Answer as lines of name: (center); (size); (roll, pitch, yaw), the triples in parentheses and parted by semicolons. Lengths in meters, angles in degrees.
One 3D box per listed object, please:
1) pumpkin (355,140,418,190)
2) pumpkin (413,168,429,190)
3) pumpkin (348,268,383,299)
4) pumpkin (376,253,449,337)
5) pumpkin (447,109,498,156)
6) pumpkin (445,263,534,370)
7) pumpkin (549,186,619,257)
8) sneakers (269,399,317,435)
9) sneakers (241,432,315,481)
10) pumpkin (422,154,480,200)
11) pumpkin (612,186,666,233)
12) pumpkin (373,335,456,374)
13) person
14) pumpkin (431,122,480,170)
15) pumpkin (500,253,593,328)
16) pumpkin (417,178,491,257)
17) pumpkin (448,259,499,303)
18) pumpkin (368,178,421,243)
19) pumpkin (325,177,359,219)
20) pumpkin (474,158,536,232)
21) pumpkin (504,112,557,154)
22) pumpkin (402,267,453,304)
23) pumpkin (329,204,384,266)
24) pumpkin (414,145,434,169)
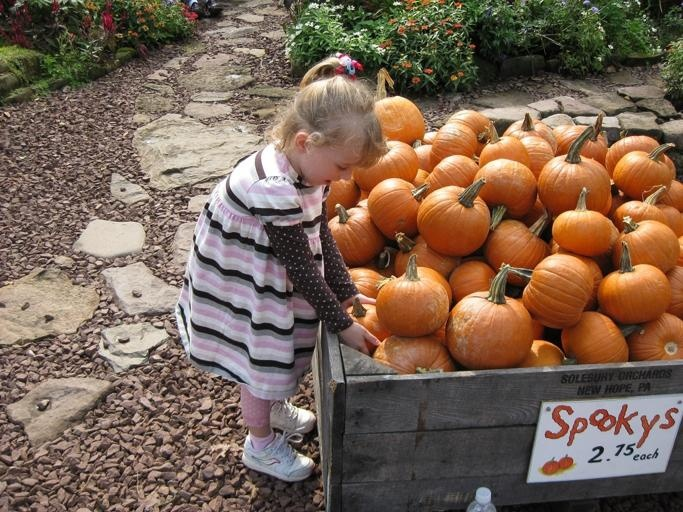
pumpkin: (0.239, -0.481, 3.085); (0.297, 0.256, 0.291); (-25, 5, -30)
pumpkin: (0.446, -0.436, 3.061); (0.121, 0.107, 0.118); (1, -4, 4)
pumpkin: (0.125, 0.149, 2.721); (0.140, 0.151, 0.144); (-35, 52, 14)
pumpkin: (0.317, 0.180, 2.394); (0.344, 0.333, 0.343); (2, 14, 41)
pumpkin: (0.810, -0.761, 3.150); (0.275, 0.278, 0.276); (-8, 38, -11)
pumpkin: (0.671, 0.281, 2.343); (0.366, 0.438, 0.352); (0, 12, -5)
pumpkin: (1.111, -0.189, 2.580); (0.351, 0.339, 0.314); (3, 11, 17)
sneakers: (-0.283, 0.848, 2.840); (0.306, 0.135, 0.123); (-1, 21, 24)
sneakers: (-0.297, 0.991, 2.690); (0.420, 0.197, 0.163); (14, 26, -4)
pumpkin: (0.582, -0.422, 2.892); (0.213, 0.215, 0.218); (23, 0, -19)
pumpkin: (1.492, -0.229, 2.645); (0.172, 0.218, 0.165); (26, 9, -11)
pumpkin: (0.285, 0.439, 2.338); (0.205, 0.173, 0.203); (-7, -4, -41)
person: (-0.268, 0.104, 2.513); (1.051, 1.853, 0.721); (3, 16, 1)
pumpkin: (0.642, -0.648, 3.042); (0.234, 0.242, 0.240); (14, 38, -2)
pumpkin: (0.909, 0.162, 2.325); (0.268, 0.187, 0.191); (30, 34, 18)
pumpkin: (0.551, -0.172, 2.577); (0.232, 0.293, 0.226); (30, 33, -12)
pumpkin: (0.629, 0.095, 2.610); (0.206, 0.186, 0.206); (-32, -8, 16)
pumpkin: (0.294, -0.258, 2.843); (0.282, 0.279, 0.277); (-35, 19, 15)
pumpkin: (0.000, -0.366, 3.099); (0.196, 0.178, 0.192); (-12, -2, 3)
pumpkin: (0.822, -0.400, 2.731); (0.315, 0.252, 0.305); (7, 10, 8)
pumpkin: (1.108, -0.751, 3.184); (0.286, 0.276, 0.287); (8, 21, 37)
pumpkin: (0.411, 0.135, 2.456); (0.169, 0.149, 0.164); (3, 1, -16)
pumpkin: (0.084, -0.127, 2.894); (0.277, 0.326, 0.273); (-26, 16, 11)
pumpkin: (0.496, -0.598, 3.221); (0.141, 0.127, 0.137); (-17, 12, 9)
